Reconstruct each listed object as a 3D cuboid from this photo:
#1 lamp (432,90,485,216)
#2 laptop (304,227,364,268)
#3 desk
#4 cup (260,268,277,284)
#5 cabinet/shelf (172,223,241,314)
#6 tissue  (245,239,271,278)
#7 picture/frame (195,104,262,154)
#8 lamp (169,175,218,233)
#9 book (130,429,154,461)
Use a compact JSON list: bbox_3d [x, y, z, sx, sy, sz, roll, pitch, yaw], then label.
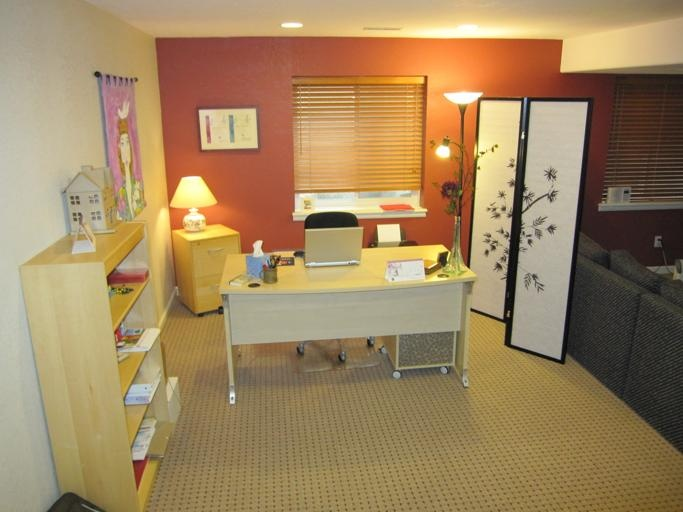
[{"bbox_3d":[1.173,-0.982,5.236,0.438,1.315,0.380,1,36,13],"label":"lamp"},{"bbox_3d":[-0.080,-0.090,4.394,0.418,0.350,0.363,-1,18,-7],"label":"laptop"},{"bbox_3d":[0.022,0.598,4.742,2.143,1.128,1.033,-3,22,-5],"label":"desk"},{"bbox_3d":[-0.619,0.163,4.230,0.118,0.108,0.100,0,18,-6],"label":"cup"},{"bbox_3d":[-1.621,0.155,5.965,0.762,0.947,0.799,5,20,3],"label":"cabinet/shelf"},{"bbox_3d":[-0.735,0.018,4.346,0.207,0.309,0.306,-4,17,-10],"label":"tissue "},{"bbox_3d":[-1.319,-1.496,5.909,0.712,0.542,0.020,-8,43,-15],"label":"picture/frame"},{"bbox_3d":[-1.638,-0.625,5.923,0.571,0.690,0.593,0,21,0],"label":"lamp"},{"bbox_3d":[-1.396,1.305,3.504,0.115,0.040,0.156,0,24,-9],"label":"book"}]
